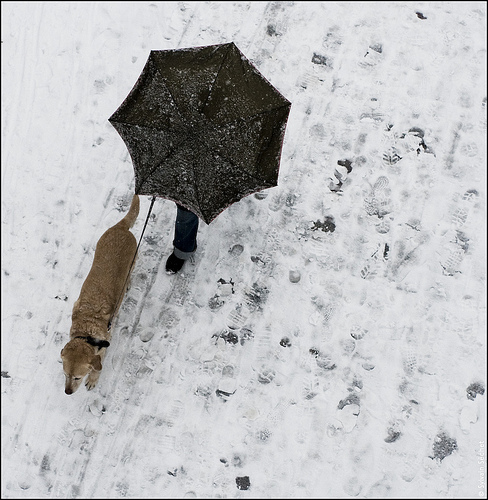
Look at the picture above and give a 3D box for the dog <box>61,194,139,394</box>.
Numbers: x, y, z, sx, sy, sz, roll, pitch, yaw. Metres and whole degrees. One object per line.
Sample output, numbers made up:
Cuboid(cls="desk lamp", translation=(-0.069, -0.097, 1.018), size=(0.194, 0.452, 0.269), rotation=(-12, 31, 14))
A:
Cuboid(cls="dog", translation=(-1.596, 0.606, 9.936), size=(0.343, 0.764, 2.070), rotation=(13, 90, -24))
